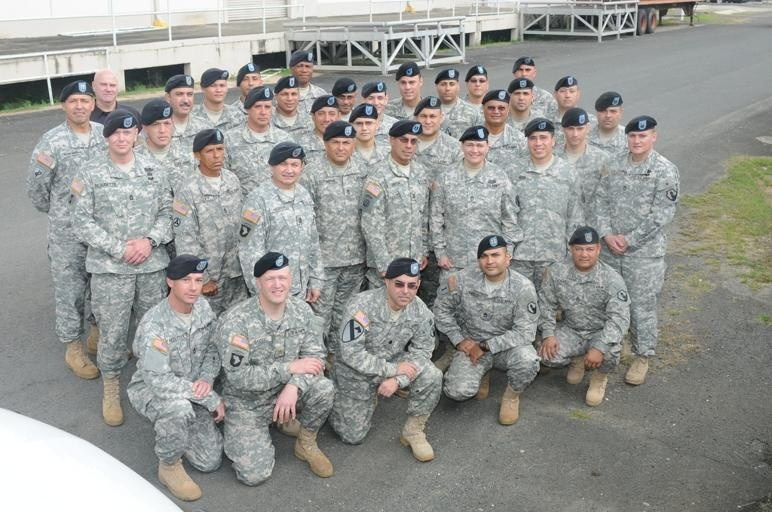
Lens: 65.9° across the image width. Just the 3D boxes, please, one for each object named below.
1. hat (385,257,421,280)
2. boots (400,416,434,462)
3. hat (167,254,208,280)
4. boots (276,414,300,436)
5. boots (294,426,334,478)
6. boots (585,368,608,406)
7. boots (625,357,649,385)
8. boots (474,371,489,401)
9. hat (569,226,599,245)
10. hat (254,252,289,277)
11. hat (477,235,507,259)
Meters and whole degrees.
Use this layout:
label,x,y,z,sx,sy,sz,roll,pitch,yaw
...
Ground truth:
label,x,y,z,sx,sy,sz,roll,pitch,yaw
hat,0.167,0.125,5.948,0.282,0.125,0.213,-5,-4,23
boots,0.310,1.832,5.906,0.409,0.364,0.159,31,35,30
hat,-1.847,0.100,5.528,0.299,0.108,0.234,-4,2,42
boots,-0.996,1.764,6.165,0.219,0.191,0.196,-13,23,-15
boots,-0.701,1.914,5.761,0.429,0.292,0.146,36,40,14
boots,2.327,1.398,6.570,0.168,0.215,0.522,13,35,15
boots,2.871,1.267,6.817,0.168,0.188,0.460,19,29,24
boots,1.092,1.475,6.688,0.122,0.203,0.342,2,21,20
hat,2.183,-0.228,6.621,0.213,0.112,0.262,-2,-2,-5
hat,-1.072,0.093,5.583,0.239,0.094,0.264,-17,4,-42
hat,1.125,-0.110,6.409,0.222,0.150,0.293,-13,-3,22
